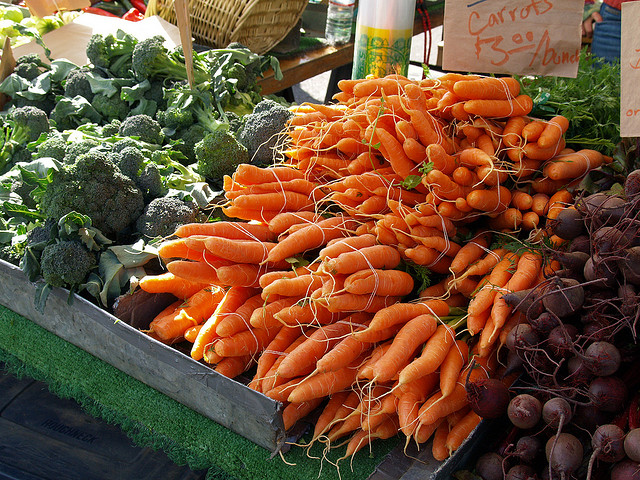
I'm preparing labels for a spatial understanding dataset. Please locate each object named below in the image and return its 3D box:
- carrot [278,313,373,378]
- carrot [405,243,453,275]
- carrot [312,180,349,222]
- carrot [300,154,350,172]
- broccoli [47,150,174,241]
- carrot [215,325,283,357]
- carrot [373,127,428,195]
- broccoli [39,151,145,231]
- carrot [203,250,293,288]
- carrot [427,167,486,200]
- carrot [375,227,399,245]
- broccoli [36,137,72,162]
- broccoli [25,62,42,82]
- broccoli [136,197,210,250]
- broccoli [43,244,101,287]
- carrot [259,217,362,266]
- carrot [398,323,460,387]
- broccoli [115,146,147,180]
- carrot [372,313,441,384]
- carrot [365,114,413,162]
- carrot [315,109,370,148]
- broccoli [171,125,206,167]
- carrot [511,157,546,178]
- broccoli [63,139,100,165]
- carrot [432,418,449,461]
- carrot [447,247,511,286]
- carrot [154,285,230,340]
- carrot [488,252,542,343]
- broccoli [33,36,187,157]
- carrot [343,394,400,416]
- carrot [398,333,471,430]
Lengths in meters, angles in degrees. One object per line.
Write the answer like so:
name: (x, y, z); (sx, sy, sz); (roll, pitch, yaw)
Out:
carrot: (0.019, 0.418, 1.990); (0.325, 0.076, 0.085); (-33, 26, -23)
carrot: (0.460, 0.092, 2.151); (0.112, 0.154, 0.264); (14, 14, 42)
carrot: (0.051, -0.175, 2.331); (0.094, 0.050, 0.184); (23, 68, 36)
carrot: (0.020, -0.370, 2.429); (0.287, 0.090, 0.086); (6, 11, 7)
broccoli: (-0.988, -0.230, 2.525); (0.691, 0.434, 0.545); (1, 6, 22)
carrot: (-0.289, 0.396, 2.082); (0.091, 0.104, 0.292); (-11, -2, 44)
carrot: (0.354, -0.348, 2.209); (0.067, 0.314, 0.079); (-20, 18, 43)
broccoli: (-1.027, -0.188, 2.345); (0.394, 0.266, 0.328); (2, 33, 31)
carrot: (-0.390, 0.133, 2.154); (0.414, 0.122, 0.112); (4, 28, -35)
carrot: (0.571, -0.241, 2.134); (0.228, 0.137, 0.071); (6, 8, -29)
carrot: (0.283, -0.014, 2.182); (0.118, 0.038, 0.041); (40, 49, -2)
broccoli: (-1.386, -0.483, 2.668); (0.148, 0.090, 0.133); (5, 15, 28)
broccoli: (-1.888, -1.110, 3.366); (0.099, 0.129, 0.051); (-7, 15, -44)
broccoli: (-0.674, -0.107, 2.374); (0.255, 0.151, 0.207); (-37, 20, -1)
broccoli: (-1.055, 0.101, 2.154); (0.169, 0.113, 0.219); (15, 13, -16)
carrot: (-0.012, -0.003, 2.212); (0.419, 0.110, 0.082); (-15, -16, 23)
carrot: (0.420, 0.428, 1.985); (0.106, 0.127, 0.379); (16, 36, 31)
broccoli: (-0.914, -0.376, 2.460); (0.143, 0.133, 0.073); (45, 13, 21)
carrot: (0.322, 0.413, 1.969); (0.110, 0.101, 0.395); (15, 34, 34)
carrot: (0.257, -0.424, 2.186); (0.105, 0.195, 0.050); (-16, -1, -12)
carrot: (0.108, -0.514, 2.362); (0.299, 0.074, 0.082); (-31, -13, 12)
broccoli: (-0.740, -0.563, 3.018); (0.175, 0.138, 0.241); (16, 53, 39)
carrot: (0.901, -0.325, 2.199); (0.152, 0.068, 0.065); (-19, 20, -19)
broccoli: (-1.209, -0.448, 2.569); (0.142, 0.088, 0.174); (-21, -3, -20)
carrot: (0.444, 0.725, 1.872); (0.058, 0.058, 0.190); (-30, 16, 29)
carrot: (0.661, 0.111, 2.114); (0.226, 0.056, 0.046); (-33, 13, -18)
carrot: (-0.593, 0.272, 2.331); (0.388, 0.127, 0.127); (-3, 28, 27)
carrot: (0.736, 0.226, 1.921); (0.078, 0.353, 0.079); (35, -24, -8)
broccoli: (-1.189, -0.816, 3.105); (0.857, 0.331, 0.886); (33, 52, 28)
carrot: (0.187, 0.611, 1.872); (0.200, 0.077, 0.078); (5, 11, 2)
carrot: (0.446, 0.467, 1.904); (0.089, 0.483, 0.114); (38, -21, -2)
